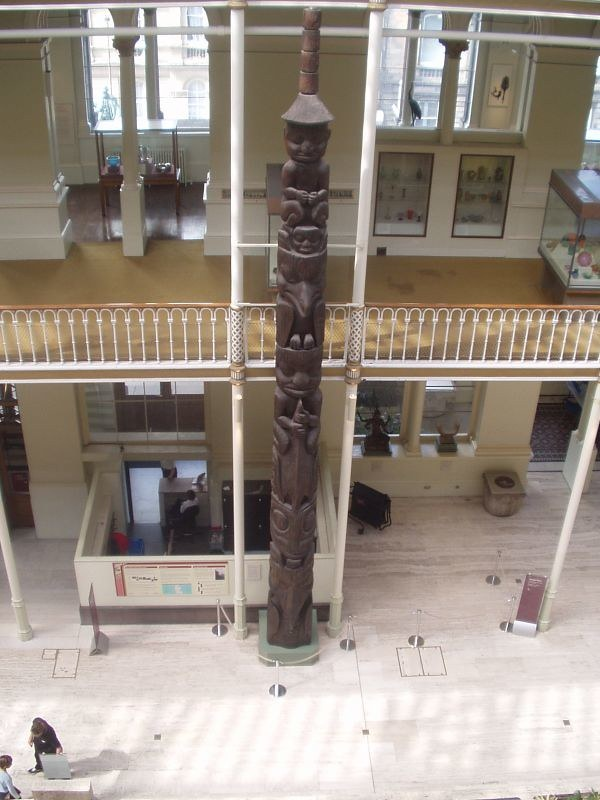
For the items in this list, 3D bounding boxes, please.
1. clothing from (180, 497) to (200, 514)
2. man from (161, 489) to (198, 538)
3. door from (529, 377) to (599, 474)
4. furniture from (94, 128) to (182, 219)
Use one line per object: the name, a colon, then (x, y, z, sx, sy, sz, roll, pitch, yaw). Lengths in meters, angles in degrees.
clothing: (-2.000, 1.884, 11.330, 0.153, 0.258, 0.278, 54, 33, 11)
man: (-2.155, 1.897, 11.579, 0.714, 0.955, 0.680, 5, 30, 2)
door: (5.890, 0.626, 13.969, 1.506, 0.040, 4.171, -3, 36, 15)
furniture: (-3.224, -4.541, 12.607, 1.546, 1.637, 0.661, 1, 31, -8)
